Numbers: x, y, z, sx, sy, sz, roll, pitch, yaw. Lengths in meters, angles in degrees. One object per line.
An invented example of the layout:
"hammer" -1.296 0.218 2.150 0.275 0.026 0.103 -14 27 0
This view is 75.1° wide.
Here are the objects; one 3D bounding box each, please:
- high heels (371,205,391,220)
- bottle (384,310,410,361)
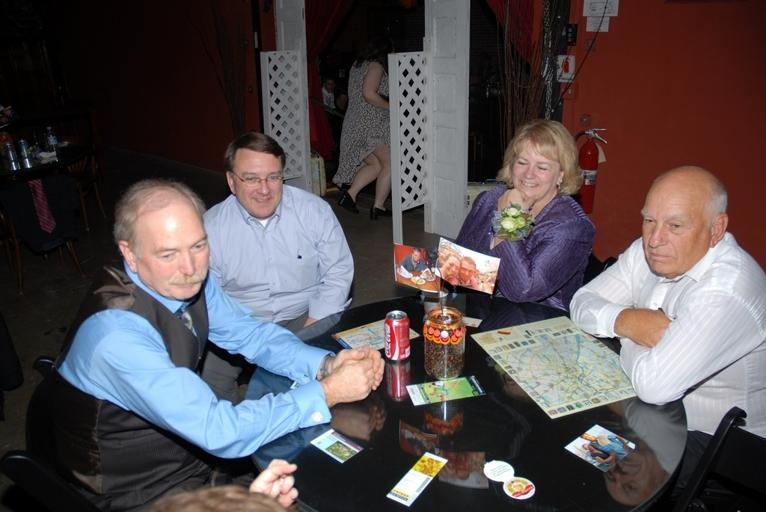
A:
"high heels" -0.007 -0.560 6.366 0.115 0.146 0.325 15 22 41
"bottle" 0.060 0.345 2.115 0.113 0.216 0.116 -3 24 1
